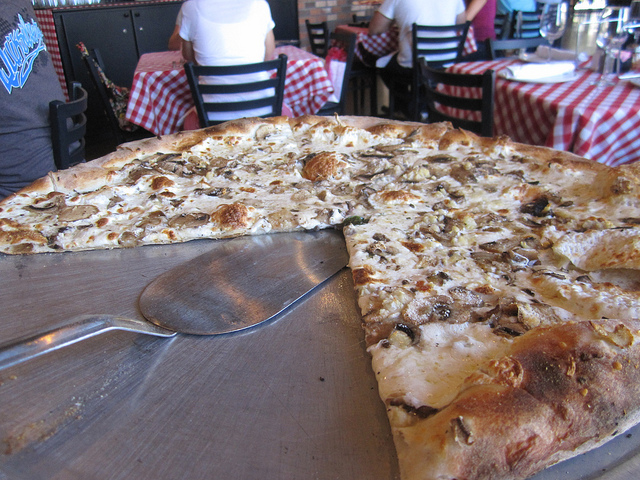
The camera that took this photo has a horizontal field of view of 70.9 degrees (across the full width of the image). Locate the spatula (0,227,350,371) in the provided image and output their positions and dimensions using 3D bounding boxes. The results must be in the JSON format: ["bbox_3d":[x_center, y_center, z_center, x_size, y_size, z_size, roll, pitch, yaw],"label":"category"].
[{"bbox_3d":[-0.114,0.081,0.985,0.903,0.127,0.203,-15,44,-39],"label":"spatula"}]

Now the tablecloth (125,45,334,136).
[{"bbox_3d":[-0.653,-0.994,2.991,1.277,0.429,0.657,-10,29,-13],"label":"tablecloth"}]

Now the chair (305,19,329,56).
[{"bbox_3d":[-0.027,-1.933,4.275,0.245,0.291,0.181,10,51,11],"label":"chair"}]
